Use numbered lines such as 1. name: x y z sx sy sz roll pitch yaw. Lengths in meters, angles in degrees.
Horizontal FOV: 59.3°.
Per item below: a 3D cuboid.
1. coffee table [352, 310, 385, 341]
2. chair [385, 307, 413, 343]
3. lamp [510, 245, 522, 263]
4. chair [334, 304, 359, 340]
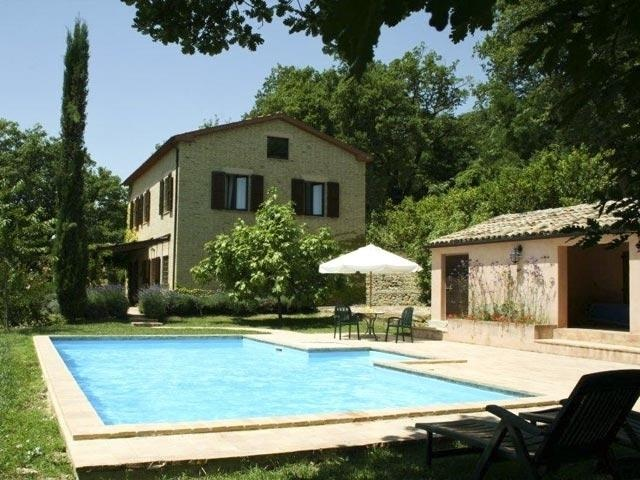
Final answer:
1. coffee table: 1.717 2.889 19.203 0.910 0.714 0.968 -6 -19 27
2. chair: 2.211 2.440 16.603 0.757 0.909 0.734 6 -7 -23
3. lamp: 5.682 0.399 16.319 0.234 0.575 0.299 -4 5 -37
4. chair: 0.770 2.399 16.519 0.780 0.988 0.817 0 -6 6
